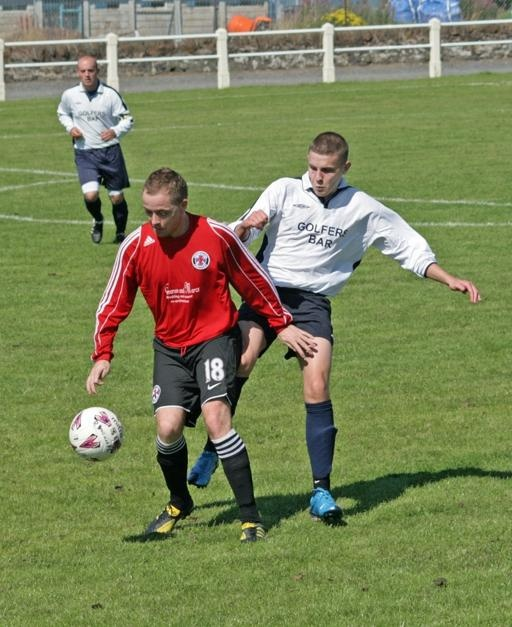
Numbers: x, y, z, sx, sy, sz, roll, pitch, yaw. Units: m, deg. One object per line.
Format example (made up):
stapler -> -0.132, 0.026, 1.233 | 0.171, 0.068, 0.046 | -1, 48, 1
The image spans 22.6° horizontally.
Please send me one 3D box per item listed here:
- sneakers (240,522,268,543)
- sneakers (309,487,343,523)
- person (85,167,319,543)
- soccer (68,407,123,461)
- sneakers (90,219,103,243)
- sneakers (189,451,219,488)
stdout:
sneakers -> -0.013, 1.079, 6.340 | 0.122, 0.094, 0.070 | -2, 11, 0
sneakers -> 0.343, 0.978, 6.488 | 0.086, 0.128, 0.251 | -8, -1, -16
person -> -0.305, 0.192, 6.455 | 1.062, 1.837, 0.602 | -2, 11, 2
soccer -> -0.837, 0.591, 6.559 | 0.245, 0.257, 0.246 | -38, 18, -24
sneakers -> -1.603, -0.821, 12.931 | 0.078, 0.260, 0.104 | -1, -10, -5
sneakers -> -0.279, 0.837, 6.954 | 0.121, 0.227, 0.082 | 25, 19, -8
